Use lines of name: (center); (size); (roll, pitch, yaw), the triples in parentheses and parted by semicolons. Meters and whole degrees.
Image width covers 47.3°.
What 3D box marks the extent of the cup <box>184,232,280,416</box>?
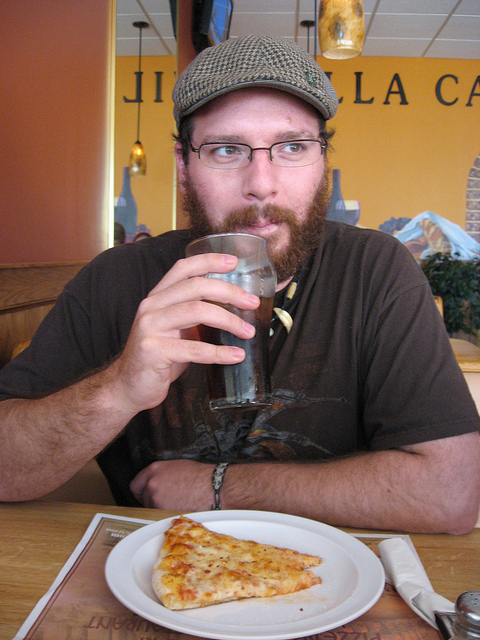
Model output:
cup: (-0.012, 0.023, 0.848); (0.156, 0.314, 0.147); (4, 16, -1)

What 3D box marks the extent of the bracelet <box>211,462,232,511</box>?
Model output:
bracelet: (-0.044, 0.314, 1.054); (0.024, 0.073, 0.095); (18, -29, -6)

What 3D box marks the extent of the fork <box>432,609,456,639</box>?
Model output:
fork: (0.206, 0.300, 0.548); (0.011, 0.030, 0.024); (7, -3, 2)
